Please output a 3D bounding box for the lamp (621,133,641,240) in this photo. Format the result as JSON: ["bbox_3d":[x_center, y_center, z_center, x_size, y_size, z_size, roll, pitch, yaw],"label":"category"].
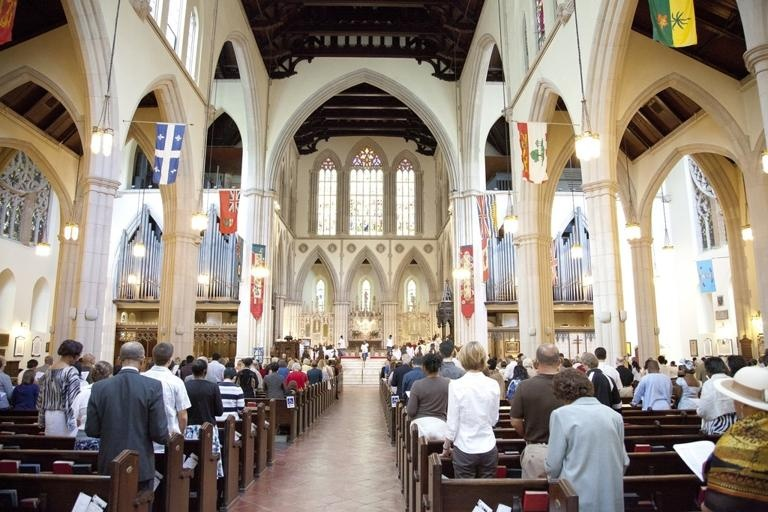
[{"bbox_3d":[7.565,-1.724,17.440,0.341,2.305,0.359,-3,-3,5],"label":"lamp"}]

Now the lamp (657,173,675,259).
[{"bbox_3d":[13.766,-2.111,27.732,0.545,3.128,1.065,-5,-11,21],"label":"lamp"}]

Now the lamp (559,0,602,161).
[{"bbox_3d":[4.602,-4.343,13.281,0.490,4.769,2.163,-5,-11,20],"label":"lamp"}]

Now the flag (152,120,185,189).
[{"bbox_3d":[-5.641,-2.827,14.802,0.679,1.924,1.120,3,-12,-23],"label":"flag"}]

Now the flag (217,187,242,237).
[{"bbox_3d":[-5.425,-1.634,19.761,0.623,1.456,0.963,2,-11,-18],"label":"flag"}]

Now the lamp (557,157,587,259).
[{"bbox_3d":[9.216,-2.290,27.750,1.044,5.091,1.868,-5,-11,18],"label":"lamp"}]

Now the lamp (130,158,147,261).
[{"bbox_3d":[-11.250,-1.844,26.187,0.690,3.778,0.703,4,-2,5],"label":"lamp"}]

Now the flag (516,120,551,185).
[{"bbox_3d":[3.846,-2.805,14.645,0.732,1.715,0.545,-4,-11,17],"label":"flag"}]
